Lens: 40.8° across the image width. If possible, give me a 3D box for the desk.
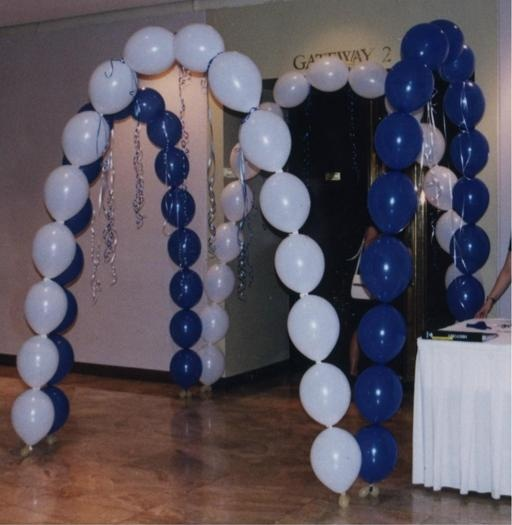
[{"bbox_3d":[1.109,0.786,3.717,0.433,0.929,0.832,-1,-3,20],"label":"desk"}]
